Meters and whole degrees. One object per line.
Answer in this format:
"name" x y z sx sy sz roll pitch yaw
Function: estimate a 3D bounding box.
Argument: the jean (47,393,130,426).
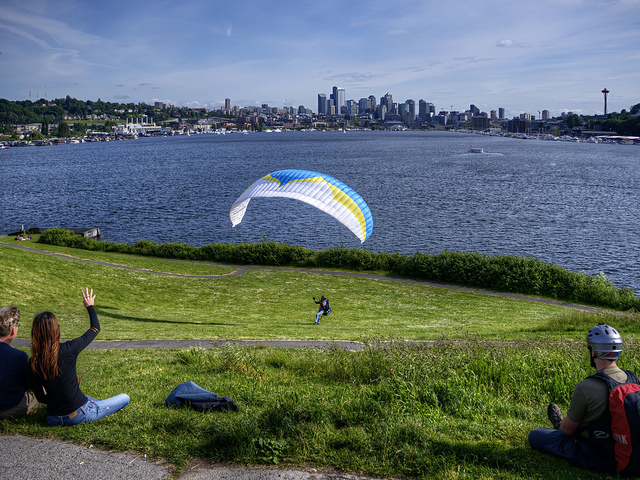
"jean" -6.557 5.046 22.071 2.220 0.654 3.092 -5 2 -7
